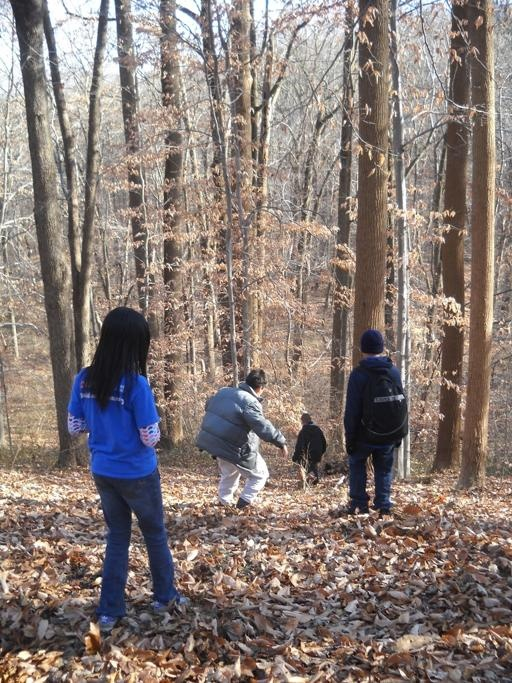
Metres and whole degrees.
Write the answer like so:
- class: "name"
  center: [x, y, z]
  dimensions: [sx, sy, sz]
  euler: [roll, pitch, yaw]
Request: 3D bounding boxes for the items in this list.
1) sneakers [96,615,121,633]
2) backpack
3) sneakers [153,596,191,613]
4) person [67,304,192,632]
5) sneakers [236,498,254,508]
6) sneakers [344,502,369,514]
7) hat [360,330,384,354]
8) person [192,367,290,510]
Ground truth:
- class: "sneakers"
  center: [-1.155, 2.267, 7.655]
  dimensions: [0.174, 0.088, 0.143]
  euler: [-3, 12, -12]
- class: "backpack"
  center: [1.247, 0.671, 9.629]
  dimensions: [0.525, 0.790, 0.415]
  euler: [-12, 21, -38]
- class: "sneakers"
  center: [-0.687, 2.189, 7.924]
  dimensions: [0.332, 0.115, 0.153]
  euler: [-5, -6, 1]
- class: "person"
  center: [-1.052, 0.978, 7.818]
  dimensions: [0.730, 2.505, 0.665]
  euler: [-7, 13, -26]
- class: "sneakers"
  center: [-0.126, 1.796, 10.514]
  dimensions: [0.115, 0.123, 0.114]
  euler: [-13, -23, 40]
- class: "sneakers"
  center: [1.028, 1.728, 9.916]
  dimensions: [0.112, 0.155, 0.214]
  euler: [0, 12, -44]
- class: "hat"
  center: [1.147, 0.003, 9.666]
  dimensions: [0.194, 0.234, 0.234]
  euler: [1, 13, -5]
- class: "person"
  center: [-0.154, 1.356, 12.789]
  dimensions: [0.879, 1.894, 1.152]
  euler: [-17, 29, -38]
